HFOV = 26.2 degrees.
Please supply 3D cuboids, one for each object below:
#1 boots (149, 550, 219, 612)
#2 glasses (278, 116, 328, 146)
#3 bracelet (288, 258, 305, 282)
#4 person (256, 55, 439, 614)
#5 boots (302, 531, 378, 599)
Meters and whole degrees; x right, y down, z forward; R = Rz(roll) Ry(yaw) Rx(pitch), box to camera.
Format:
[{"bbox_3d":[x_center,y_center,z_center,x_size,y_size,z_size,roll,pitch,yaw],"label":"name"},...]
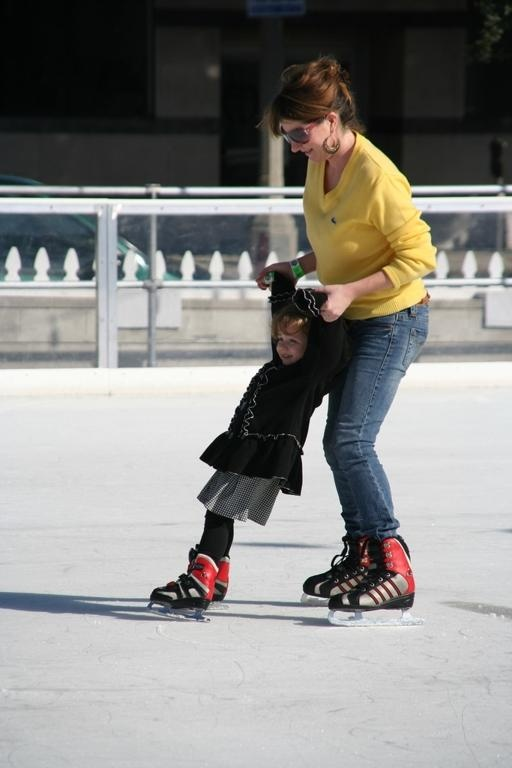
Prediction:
[{"bbox_3d":[-0.177,0.550,3.056,0.241,0.187,0.097,7,-2,7],"label":"boots"},{"bbox_3d":[0.129,-0.660,2.861,0.075,0.025,0.072,-32,20,-28],"label":"glasses"},{"bbox_3d":[0.119,-0.338,3.351,0.030,0.073,0.062,-21,4,35],"label":"bracelet"},{"bbox_3d":[0.250,-0.110,3.038,0.451,1.523,0.439,3,6,7],"label":"person"},{"bbox_3d":[0.245,0.514,3.082,0.267,0.167,0.089,5,5,-40],"label":"boots"}]
